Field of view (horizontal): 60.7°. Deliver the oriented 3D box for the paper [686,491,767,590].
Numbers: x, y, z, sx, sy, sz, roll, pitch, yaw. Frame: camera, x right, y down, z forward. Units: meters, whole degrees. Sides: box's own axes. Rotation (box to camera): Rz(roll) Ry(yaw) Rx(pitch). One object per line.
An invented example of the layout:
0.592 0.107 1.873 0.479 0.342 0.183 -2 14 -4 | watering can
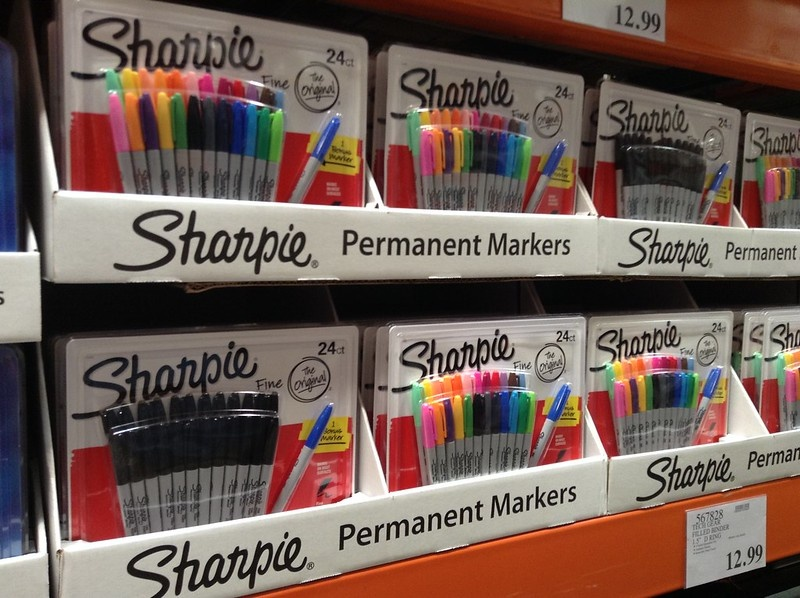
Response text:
0.580 0.424 1.219 0.216 0.167 0.033 -2 1 -28 | paper
